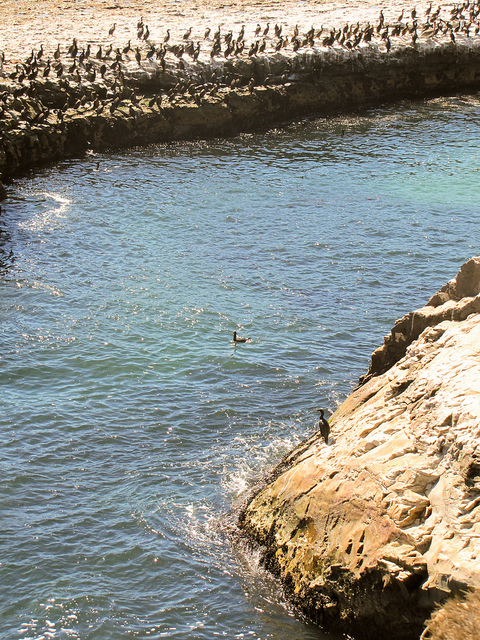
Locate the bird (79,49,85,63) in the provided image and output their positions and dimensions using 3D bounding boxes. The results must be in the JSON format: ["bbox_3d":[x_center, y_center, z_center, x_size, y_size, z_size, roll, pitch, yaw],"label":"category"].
[{"bbox_3d":[-8.592,-14.185,66.534,0.272,0.610,0.395,-4,15,-6],"label":"bird"}]

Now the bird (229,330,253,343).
[{"bbox_3d":[-0.038,0.540,43.269,0.781,0.350,0.841,-2,15,1],"label":"bird"}]
